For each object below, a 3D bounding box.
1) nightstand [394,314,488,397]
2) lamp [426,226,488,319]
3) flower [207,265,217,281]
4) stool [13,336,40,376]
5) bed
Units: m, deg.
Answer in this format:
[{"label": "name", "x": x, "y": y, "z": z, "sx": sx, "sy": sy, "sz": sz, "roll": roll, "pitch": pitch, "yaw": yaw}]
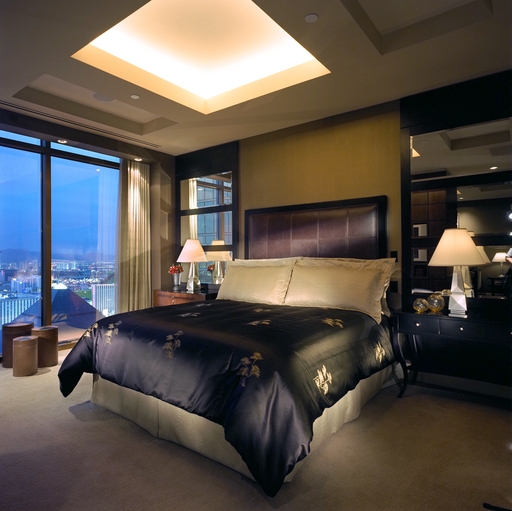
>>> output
[{"label": "nightstand", "x": 1.459, "y": 0.788, "z": 3.151, "sx": 0.533, "sy": 0.558, "sz": 0.231, "roll": -2, "pitch": -3, "yaw": 40}, {"label": "lamp", "x": 1.539, "y": 0.111, "z": 3.112, "sx": 0.346, "sy": 0.628, "sz": 0.513, "roll": 3, "pitch": 5, "yaw": 43}, {"label": "flower", "x": -0.552, "y": 0.216, "z": 5.115, "sx": 0.042, "sy": 0.201, "sz": 0.103, "roll": 1, "pitch": -1, "yaw": -43}, {"label": "stool", "x": -2.083, "y": 0.916, "z": 3.663, "sx": 0.197, "sy": 0.331, "sz": 0.188, "roll": -3, "pitch": 4, "yaw": -34}, {"label": "bed", "x": -0.052, "y": 0.283, "z": 3.314, "sx": 2.125, "sy": 1.572, "sz": 2.363, "roll": 2, "pitch": 5, "yaw": 33}]
